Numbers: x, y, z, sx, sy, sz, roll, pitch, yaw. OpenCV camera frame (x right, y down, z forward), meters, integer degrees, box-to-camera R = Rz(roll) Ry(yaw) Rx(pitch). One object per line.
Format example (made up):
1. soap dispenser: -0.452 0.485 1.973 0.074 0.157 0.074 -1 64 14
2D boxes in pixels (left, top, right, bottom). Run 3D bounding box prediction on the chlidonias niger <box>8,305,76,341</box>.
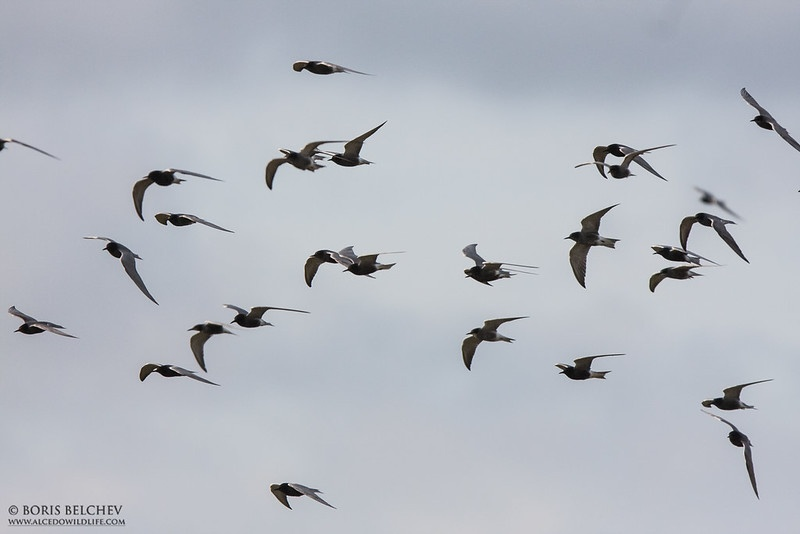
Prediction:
1. chlidonias niger: -7.855 1.266 30.716 0.970 0.252 1.408 -12 26 -37
